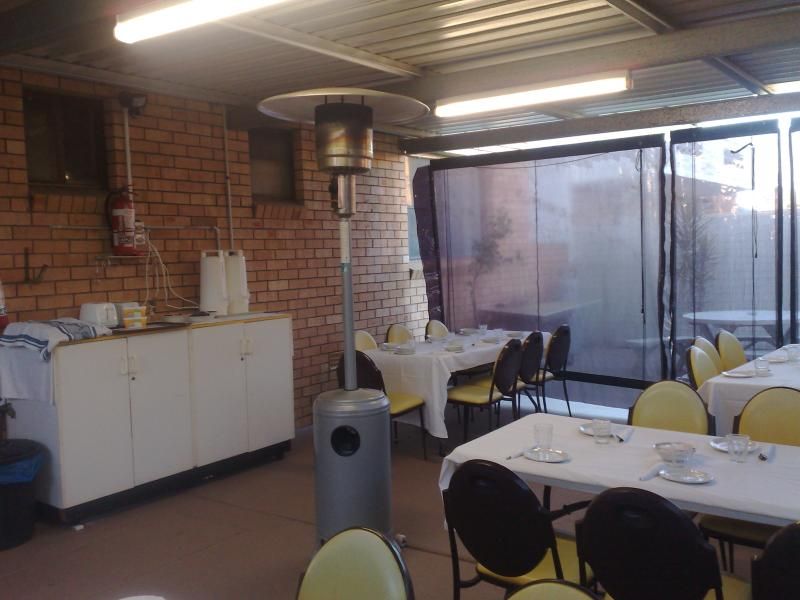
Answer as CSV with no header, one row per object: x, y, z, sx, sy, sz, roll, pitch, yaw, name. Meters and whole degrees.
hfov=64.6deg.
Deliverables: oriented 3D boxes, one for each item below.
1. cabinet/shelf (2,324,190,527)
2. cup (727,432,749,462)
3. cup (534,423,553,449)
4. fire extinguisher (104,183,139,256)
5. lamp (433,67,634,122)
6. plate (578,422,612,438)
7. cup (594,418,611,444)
-2.130,0.841,5.330,1.122,1.743,1.801,-2,-2,38,cabinet/shelf
1.729,0.734,3.188,0.123,0.130,0.121,-2,-2,0,cup
0.749,0.722,3.385,0.130,0.138,0.119,-2,5,0,cup
-2.230,-0.629,5.087,0.232,0.539,0.274,-6,9,-30,fire extinguisher
1.001,-1.396,4.628,1.615,0.125,0.221,0,-24,37,lamp
1.111,0.731,3.572,0.113,0.018,0.112,4,10,31,plate
1.138,0.731,3.533,0.092,0.112,0.113,0,-5,-1,cup
